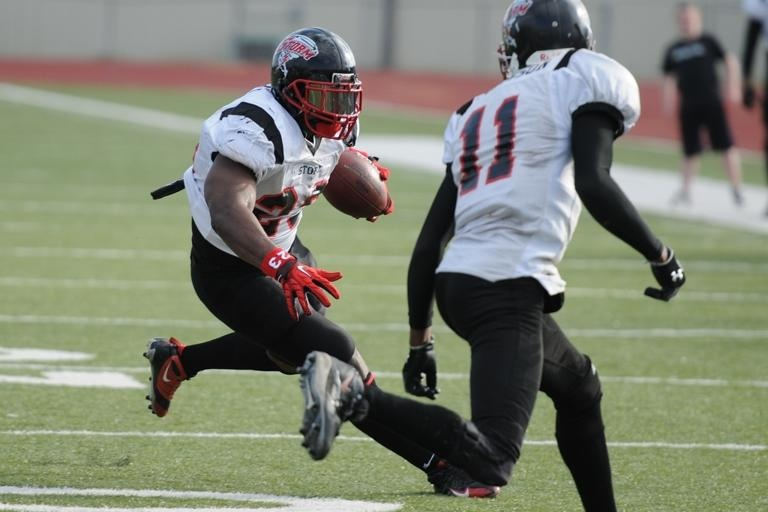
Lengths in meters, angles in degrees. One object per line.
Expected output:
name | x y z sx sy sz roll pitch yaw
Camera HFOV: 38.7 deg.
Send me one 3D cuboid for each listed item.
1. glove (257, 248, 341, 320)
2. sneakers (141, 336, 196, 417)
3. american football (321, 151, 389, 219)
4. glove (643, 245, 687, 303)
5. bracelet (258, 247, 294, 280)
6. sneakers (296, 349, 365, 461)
glove | -0.411 0.155 5.331 0.381 0.349 0.120 -2 -21 -5
sneakers | -1.224 0.642 6.230 0.291 0.493 0.185 2 3 12
american football | -0.169 -0.359 6.037 0.407 0.255 0.305 38 26 -16
glove | 1.379 0.113 5.358 0.153 0.130 0.374 50 4 11
bracelet | -0.517 0.040 5.240 0.120 0.160 0.082 55 24 2
sneakers | -0.257 0.634 4.793 0.289 0.465 0.227 26 47 15
